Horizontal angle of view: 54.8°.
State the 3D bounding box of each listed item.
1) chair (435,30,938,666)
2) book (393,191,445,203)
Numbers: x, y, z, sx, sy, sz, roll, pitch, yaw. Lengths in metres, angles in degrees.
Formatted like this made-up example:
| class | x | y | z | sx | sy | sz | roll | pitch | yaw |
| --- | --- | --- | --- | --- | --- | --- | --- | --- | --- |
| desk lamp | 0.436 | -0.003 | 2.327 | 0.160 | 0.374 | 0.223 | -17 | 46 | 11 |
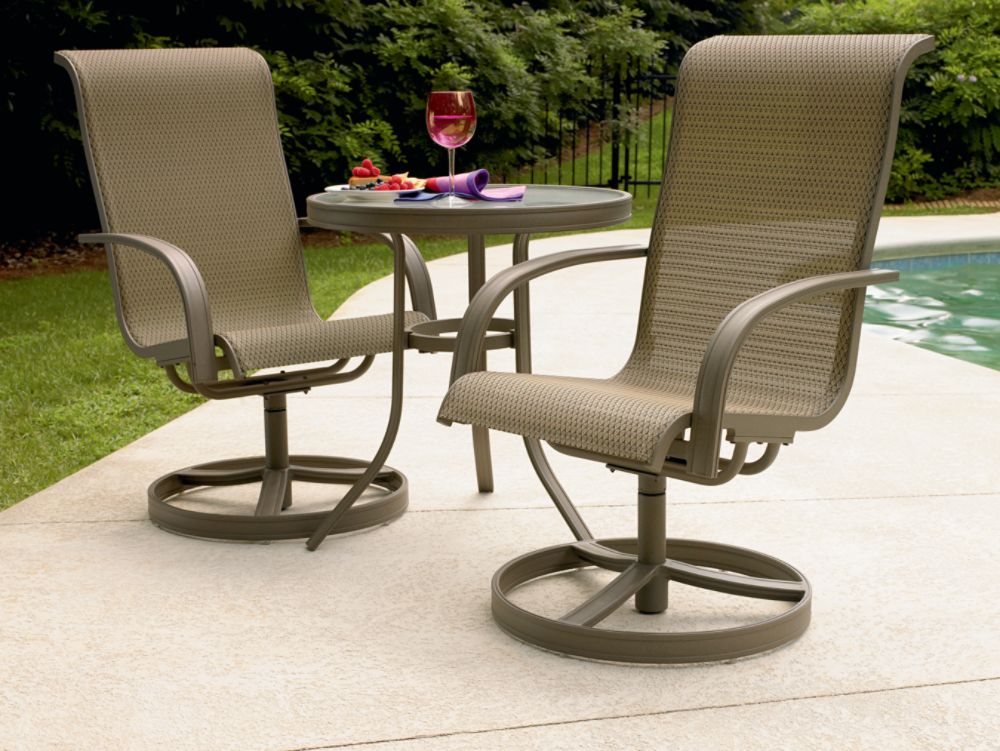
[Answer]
| class | x | y | z | sx | sy | sz | roll | pitch | yaw |
| --- | --- | --- | --- | --- | --- | --- | --- | --- | --- |
| chair | 0.485 | -0.118 | 2.516 | 0.940 | 1.481 | 1.385 | 10 | 27 | 18 |
| book | -0.238 | -0.531 | 2.859 | 0.097 | 0.014 | 0.084 | 1 | 3 | 7 |
